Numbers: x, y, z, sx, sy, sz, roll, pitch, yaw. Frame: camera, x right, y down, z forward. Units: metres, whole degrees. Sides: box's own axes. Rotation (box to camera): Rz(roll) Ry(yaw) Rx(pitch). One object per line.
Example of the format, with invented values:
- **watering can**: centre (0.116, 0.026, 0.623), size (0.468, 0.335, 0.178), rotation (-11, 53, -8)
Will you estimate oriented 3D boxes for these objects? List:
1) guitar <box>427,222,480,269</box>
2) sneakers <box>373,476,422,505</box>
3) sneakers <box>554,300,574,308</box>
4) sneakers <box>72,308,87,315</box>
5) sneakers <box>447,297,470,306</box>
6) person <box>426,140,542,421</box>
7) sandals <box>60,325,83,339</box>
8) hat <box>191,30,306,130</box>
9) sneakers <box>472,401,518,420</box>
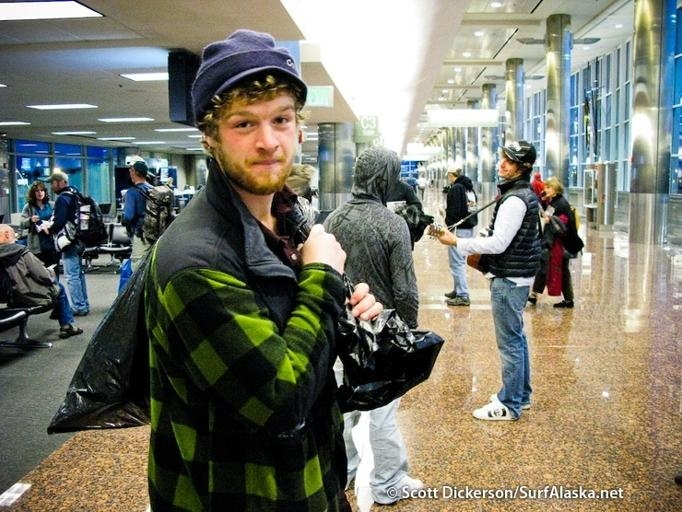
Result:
- **guitar**: centre (0.880, -0.110, 4.466), size (0.133, 0.493, 0.295), rotation (-45, -4, 31)
- **sneakers**: centre (0.330, 1.358, 3.177), size (0.269, 0.107, 0.138), rotation (-11, 14, -22)
- **sneakers**: centre (2.999, 0.649, 7.316), size (0.299, 0.112, 0.100), rotation (2, -2, 19)
- **sneakers**: centre (-3.685, 0.793, 7.630), size (0.218, 0.080, 0.077), rotation (7, 0, -5)
- **sneakers**: centre (1.616, 0.639, 7.475), size (0.333, 0.152, 0.133), rotation (6, 3, 8)
- **person**: centre (1.196, 0.172, 4.155), size (0.686, 2.060, 0.652), rotation (0, 10, 13)
- **sandals**: centre (-3.299, 0.928, 6.585), size (0.113, 0.103, 0.233), rotation (2, 6, 10)
- **hat**: centre (-0.249, -0.447, 1.408), size (0.222, 0.163, 0.291), rotation (-3, -7, -33)
- **sneakers**: centre (1.155, 1.176, 4.125), size (0.357, 0.132, 0.129), rotation (4, -4, 1)
